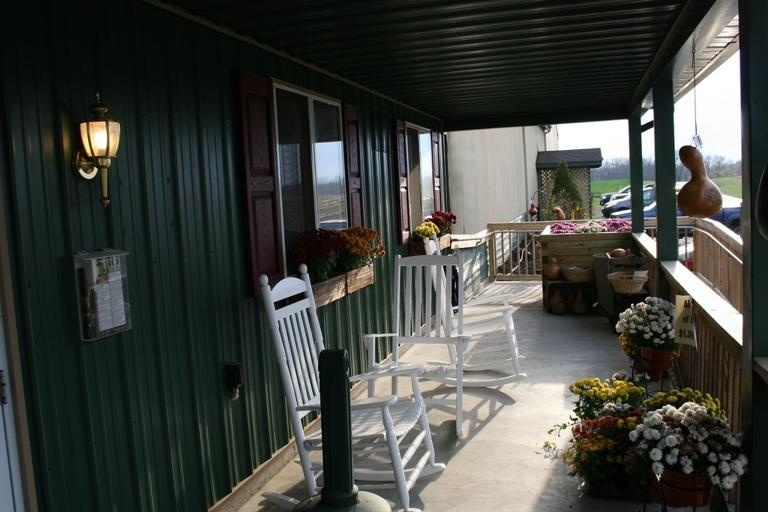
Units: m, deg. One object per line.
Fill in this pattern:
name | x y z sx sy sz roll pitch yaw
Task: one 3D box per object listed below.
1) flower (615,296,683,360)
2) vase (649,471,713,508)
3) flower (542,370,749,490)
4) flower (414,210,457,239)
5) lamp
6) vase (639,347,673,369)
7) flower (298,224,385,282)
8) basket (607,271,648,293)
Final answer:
flower | 1.996 0.492 4.588 0.409 0.520 0.415 1 3 38
vase | 1.658 1.297 3.342 0.263 0.193 0.216 -1 -2 20
flower | 1.600 1.210 3.668 0.618 0.738 1.117 -10 8 -30
flower | 0.691 -0.402 8.081 0.437 0.217 0.450 -28 6 36
lamp | -1.551 -0.573 3.280 0.262 0.612 0.206 -12 9 -43
vase | 2.009 0.740 4.449 0.153 0.110 0.166 3 -1 23
flower | -0.389 -0.056 5.134 0.373 0.261 0.607 7 11 17
basket | 2.702 0.317 6.714 0.361 0.318 0.433 -5 7 8
